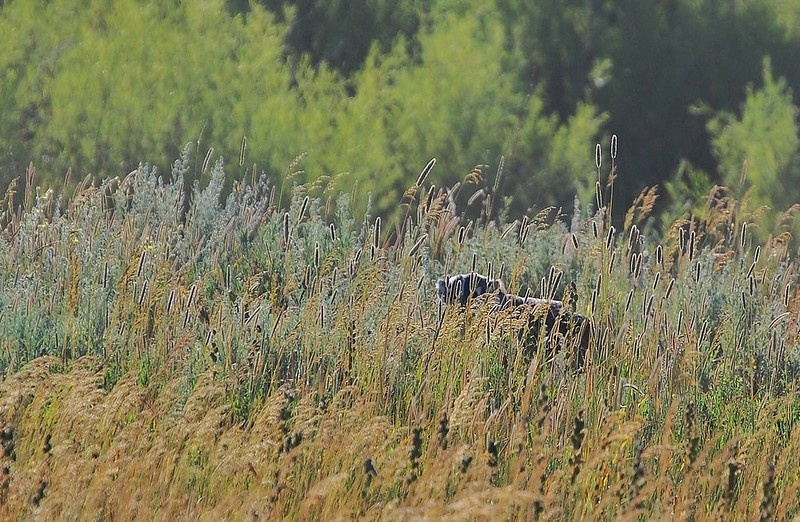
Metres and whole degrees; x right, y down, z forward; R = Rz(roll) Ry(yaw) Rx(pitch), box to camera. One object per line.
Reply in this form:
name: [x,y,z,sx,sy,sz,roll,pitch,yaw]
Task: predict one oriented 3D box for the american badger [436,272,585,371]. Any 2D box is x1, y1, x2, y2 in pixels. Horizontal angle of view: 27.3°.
american badger: [1.109,0.796,19.202,1.713,1.143,0.525,11,23,29]
